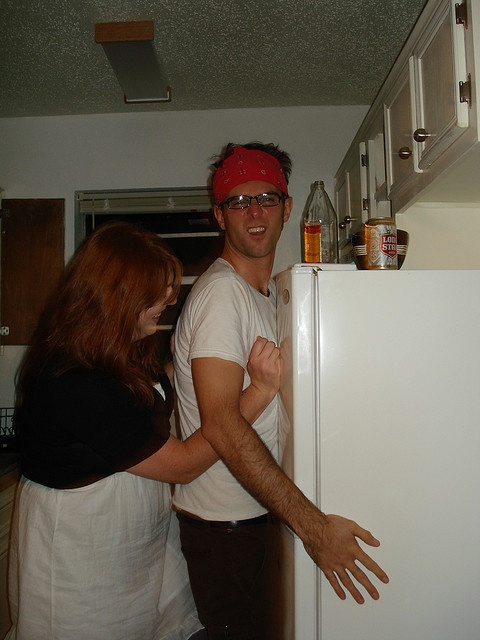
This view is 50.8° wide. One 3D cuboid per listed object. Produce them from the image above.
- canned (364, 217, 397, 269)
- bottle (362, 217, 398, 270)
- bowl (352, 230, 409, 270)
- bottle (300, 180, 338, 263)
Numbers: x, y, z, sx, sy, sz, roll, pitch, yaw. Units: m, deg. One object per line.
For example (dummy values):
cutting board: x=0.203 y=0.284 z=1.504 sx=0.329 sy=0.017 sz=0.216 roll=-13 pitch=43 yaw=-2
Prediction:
canned: x=0.285 y=-0.145 z=1.020 sx=0.062 sy=0.116 sz=0.065 roll=-8 pitch=-14 yaw=42
bottle: x=0.284 y=-0.147 z=1.017 sx=0.062 sy=0.113 sz=0.061 roll=1 pitch=-5 yaw=0
bowl: x=0.296 y=-0.129 z=1.082 sx=0.085 sy=0.077 sz=0.098 roll=0 pitch=-13 yaw=6
bottle: x=0.251 y=-0.295 z=1.583 sx=0.121 sy=0.272 sz=0.130 roll=-4 pitch=24 yaw=2
